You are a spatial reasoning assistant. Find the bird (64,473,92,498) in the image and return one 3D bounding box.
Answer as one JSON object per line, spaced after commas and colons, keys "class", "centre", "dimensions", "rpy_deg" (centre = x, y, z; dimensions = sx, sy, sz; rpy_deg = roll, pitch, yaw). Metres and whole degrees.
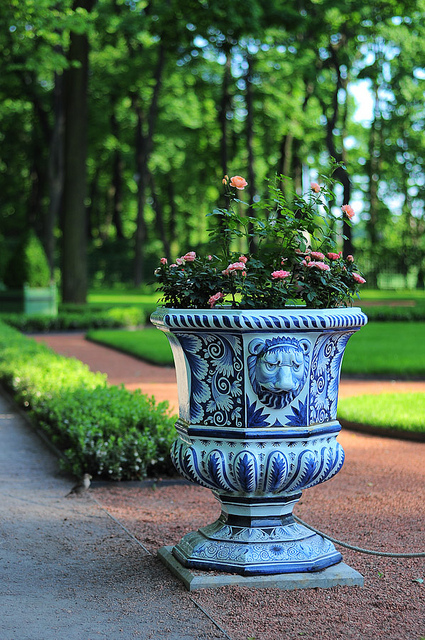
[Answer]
{"class": "bird", "centre": [-0.940, 1.178, 7.588], "dimensions": [0.147, 0.155, 0.341], "rpy_deg": [5, 6, 7]}
